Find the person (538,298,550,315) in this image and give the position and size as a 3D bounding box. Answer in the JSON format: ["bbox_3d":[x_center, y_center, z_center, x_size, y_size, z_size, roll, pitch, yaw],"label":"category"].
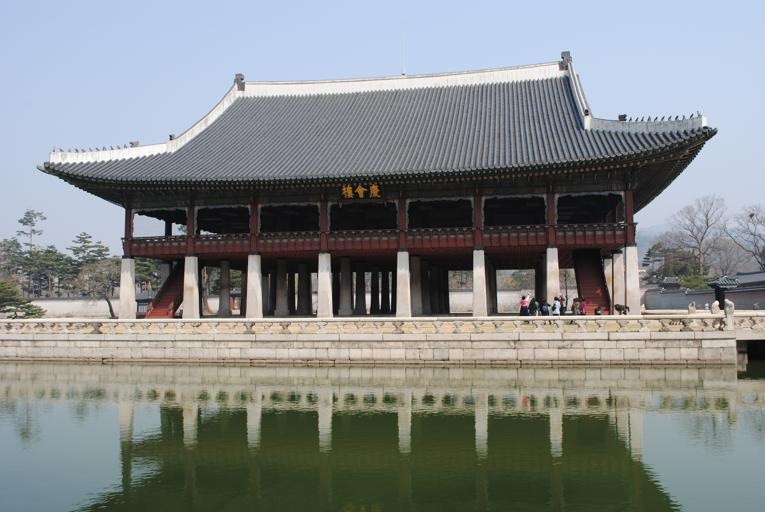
[{"bbox_3d":[10.534,3.360,83.496,0.528,1.351,0.989,-7,9,-39],"label":"person"}]

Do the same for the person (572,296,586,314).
[{"bbox_3d":[12.657,3.207,82.481,0.443,0.970,1.432,5,-7,13],"label":"person"}]
